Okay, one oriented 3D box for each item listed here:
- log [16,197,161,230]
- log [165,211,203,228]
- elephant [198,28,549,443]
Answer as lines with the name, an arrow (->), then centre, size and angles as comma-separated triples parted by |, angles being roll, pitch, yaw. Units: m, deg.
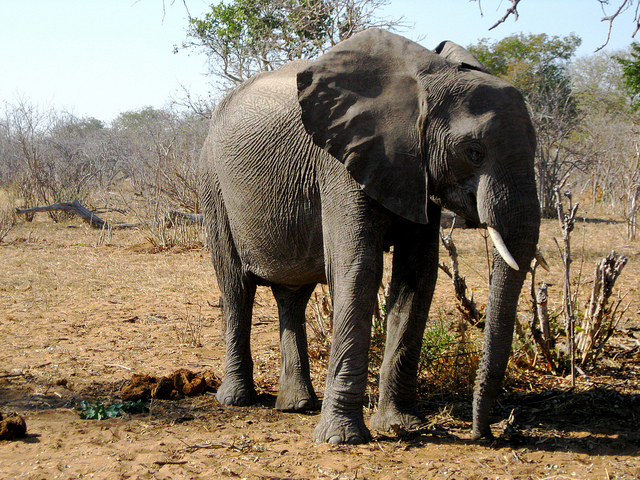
log -> -7.038, -0.709, 20.654 | 3.780, 0.998, 0.467 | 6, -25, -34
log -> -3.415, -0.499, 17.122 | 0.819, 0.359, 0.376 | -8, -1, -2
elephant -> 0.363, 0.099, 6.429 | 2.162, 3.127, 3.900 | -1, 0, -42
